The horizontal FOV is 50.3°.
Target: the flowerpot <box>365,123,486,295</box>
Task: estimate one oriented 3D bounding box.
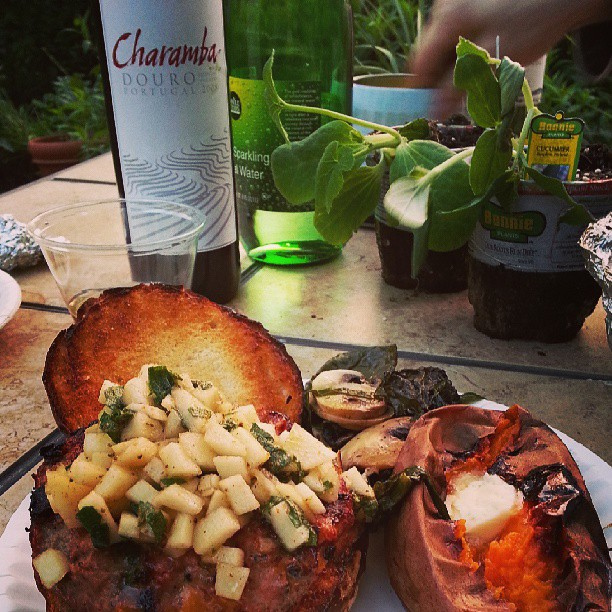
[{"bbox_3d":[0.162,-0.129,1.047,0.191,0.256,0.248,4,34,8],"label":"flowerpot"}]
